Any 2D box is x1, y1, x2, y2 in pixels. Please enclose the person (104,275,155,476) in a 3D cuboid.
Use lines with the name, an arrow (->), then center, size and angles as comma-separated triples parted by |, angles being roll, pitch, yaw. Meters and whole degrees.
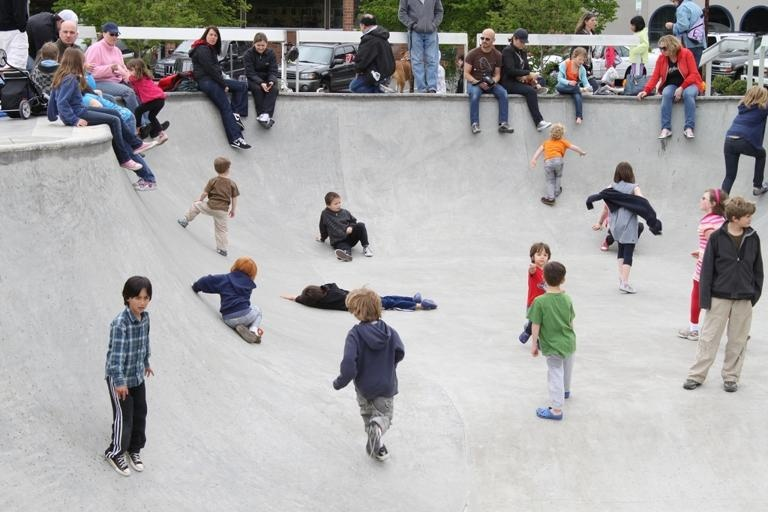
person -> -3.139, 1.443, 13.890 | 0.462, 2.350, 0.711 | 3, 14, 17

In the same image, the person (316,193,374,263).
person -> -0.704, -0.585, 20.959 | 0.965, 1.229, 0.818 | -2, 14, -5

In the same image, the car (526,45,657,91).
car -> 4.754, -4.137, 24.566 | 2.753, 0.956, 1.191 | 2, 9, -11

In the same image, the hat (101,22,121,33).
hat -> -4.746, -3.932, 19.614 | 0.236, 0.178, 0.321 | -7, 12, -44

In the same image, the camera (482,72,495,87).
camera -> 2.097, -3.511, 22.664 | 0.254, 0.224, 0.142 | -9, 16, -31

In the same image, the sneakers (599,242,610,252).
sneakers -> 4.181, -0.174, 21.567 | 0.151, 0.192, 0.435 | 1, 4, 8

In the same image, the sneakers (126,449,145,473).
sneakers -> -3.036, 2.527, 13.947 | 0.110, 0.137, 0.326 | -5, 27, -36

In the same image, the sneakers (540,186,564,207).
sneakers -> 3.351, -1.191, 22.661 | 0.191, 0.259, 0.598 | 5, 21, 12

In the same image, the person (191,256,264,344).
person -> -2.302, 0.624, 16.966 | 1.073, 1.372, 1.214 | 7, -10, -10

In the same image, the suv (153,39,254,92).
suv -> -3.561, -3.835, 22.695 | 1.799, 1.041, 1.031 | -3, 7, -39

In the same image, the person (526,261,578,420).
person -> 2.294, 1.152, 15.602 | 0.616, 2.213, 0.470 | 1, 13, 9

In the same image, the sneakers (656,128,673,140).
sneakers -> 5.637, -2.460, 22.815 | 0.187, 0.236, 0.535 | -1, 4, 21

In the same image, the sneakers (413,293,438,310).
sneakers -> 0.679, 0.761, 18.868 | 0.355, 0.161, 0.235 | 0, 7, 20

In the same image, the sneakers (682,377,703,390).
sneakers -> 4.409, 1.823, 16.265 | 0.265, 0.123, 0.132 | -6, 26, 16

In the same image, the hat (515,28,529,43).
hat -> 2.728, -4.406, 22.651 | 0.254, 0.258, 0.416 | 1, 14, 6

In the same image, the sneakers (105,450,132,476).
sneakers -> -3.249, 2.523, 13.873 | 0.317, 0.296, 0.181 | -2, 14, -7

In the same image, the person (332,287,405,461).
person -> -0.164, 1.584, 14.727 | 0.823, 2.263, 0.392 | 0, 13, 1

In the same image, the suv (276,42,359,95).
suv -> -1.253, -4.289, 25.997 | 1.046, 0.876, 1.890 | 5, 9, 30

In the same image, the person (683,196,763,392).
person -> 4.824, 0.713, 16.048 | 0.913, 2.401, 0.515 | 3, 14, 16

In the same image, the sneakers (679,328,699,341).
sneakers -> 4.746, 1.219, 17.686 | 0.129, 0.161, 0.331 | -3, 11, -17

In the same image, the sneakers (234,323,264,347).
sneakers -> -1.973, 1.139, 16.748 | 0.465, 0.190, 0.211 | 25, -10, 0

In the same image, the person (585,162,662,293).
person -> 4.133, -0.500, 19.561 | 0.778, 2.112, 0.952 | -11, 17, -37

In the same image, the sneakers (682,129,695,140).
sneakers -> 6.089, -2.447, 22.695 | 0.206, 0.250, 0.216 | 3, 14, 16

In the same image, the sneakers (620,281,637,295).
sneakers -> 4.181, 0.545, 19.382 | 0.305, 0.141, 0.141 | 8, 10, 8

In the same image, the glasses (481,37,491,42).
glasses -> 1.996, -4.342, 22.604 | 0.113, 0.115, 0.408 | -4, 15, -11

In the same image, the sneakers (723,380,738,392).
sneakers -> 4.909, 1.841, 16.115 | 0.119, 0.068, 0.195 | 3, 13, 13

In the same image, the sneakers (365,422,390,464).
sneakers -> -0.088, 2.445, 14.915 | 0.210, 0.634, 0.281 | -3, 40, 7

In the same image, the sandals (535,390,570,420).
sandals -> 2.324, 2.090, 15.717 | 0.281, 0.234, 0.496 | -3, 7, -30

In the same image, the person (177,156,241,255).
person -> -2.914, -0.849, 19.254 | 0.879, 1.691, 0.900 | -3, 14, -9
